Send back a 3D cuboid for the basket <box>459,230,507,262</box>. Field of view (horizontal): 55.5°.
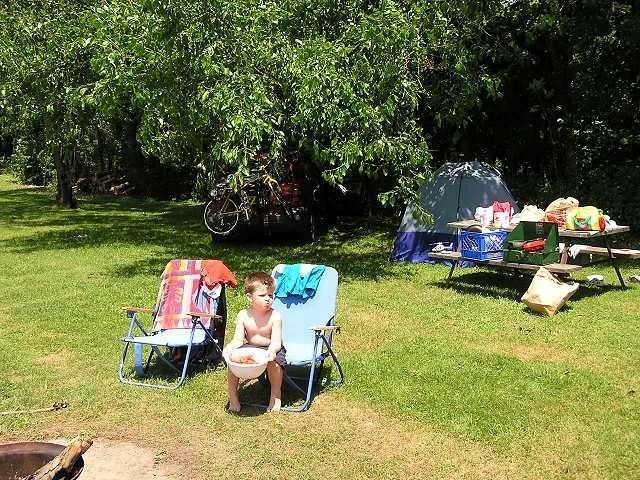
[{"bbox_3d":[2.729,0.023,10.231,0.544,0.379,0.565,4,9,38],"label":"basket"}]

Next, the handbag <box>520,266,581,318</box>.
[{"bbox_3d":[3.519,0.774,9.416,0.689,0.666,0.522,-5,10,-30],"label":"handbag"}]

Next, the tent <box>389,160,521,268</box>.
[{"bbox_3d":[2.758,-0.734,12.735,2.033,1.691,2.124,3,9,35],"label":"tent"}]

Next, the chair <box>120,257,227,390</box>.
[{"bbox_3d":[-1.993,1.035,8.079,1.299,1.822,1.468,0,-4,19],"label":"chair"}]

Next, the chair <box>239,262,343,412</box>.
[{"bbox_3d":[-0.418,1.119,7.295,1.087,1.565,1.475,1,1,12],"label":"chair"}]

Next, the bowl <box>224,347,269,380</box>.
[{"bbox_3d":[-0.803,1.391,6.627,0.467,0.360,0.417,-2,9,-10],"label":"bowl"}]
